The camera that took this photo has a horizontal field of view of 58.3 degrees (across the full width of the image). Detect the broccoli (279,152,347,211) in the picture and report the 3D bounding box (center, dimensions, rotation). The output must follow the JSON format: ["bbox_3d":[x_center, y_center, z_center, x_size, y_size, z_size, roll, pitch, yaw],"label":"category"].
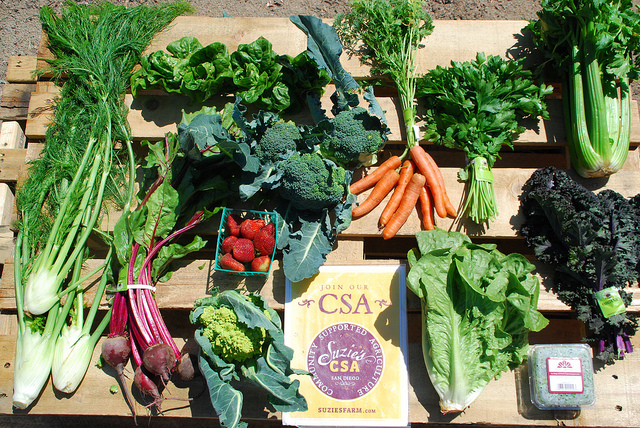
[{"bbox_3d":[-0.048,-0.230,4.283,0.435,0.376,0.259,-9,-18,-1],"label":"broccoli"}]

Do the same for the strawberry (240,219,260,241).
[{"bbox_3d":[-0.526,0.118,4.243,0.127,0.156,0.088,-4,-3,-2],"label":"strawberry"}]

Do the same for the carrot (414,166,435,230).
[{"bbox_3d":[0.816,-0.119,4.457,0.081,0.425,0.101,-5,2,0],"label":"carrot"}]

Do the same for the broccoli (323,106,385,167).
[{"bbox_3d":[0.253,-0.605,4.308,0.456,0.402,0.167,0,3,5],"label":"broccoli"}]

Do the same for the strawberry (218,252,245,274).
[{"bbox_3d":[-0.661,0.360,4.291,0.160,0.131,0.095,11,26,14],"label":"strawberry"}]

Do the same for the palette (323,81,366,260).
[{"bbox_3d":[0.186,-0.266,4.224,0.323,1.337,0.358,-3,37,-2],"label":"palette"}]

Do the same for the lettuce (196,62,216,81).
[{"bbox_3d":[-0.889,-1.110,4.486,0.139,0.146,0.054,0,3,-13],"label":"lettuce"}]

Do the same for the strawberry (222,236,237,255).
[{"bbox_3d":[-0.671,0.237,4.343,0.108,0.112,0.052,43,1,33],"label":"strawberry"}]

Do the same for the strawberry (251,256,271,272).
[{"bbox_3d":[-0.440,0.365,4.297,0.093,0.076,0.123,28,57,26],"label":"strawberry"}]
